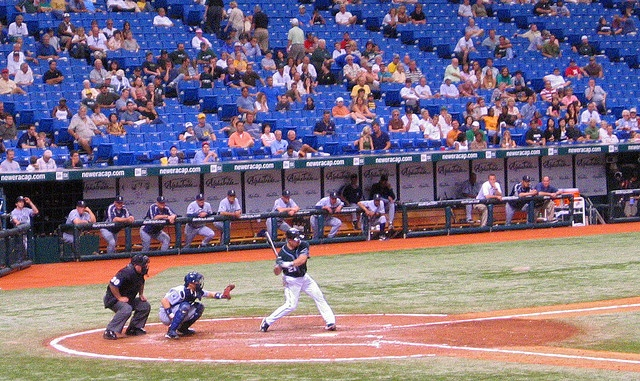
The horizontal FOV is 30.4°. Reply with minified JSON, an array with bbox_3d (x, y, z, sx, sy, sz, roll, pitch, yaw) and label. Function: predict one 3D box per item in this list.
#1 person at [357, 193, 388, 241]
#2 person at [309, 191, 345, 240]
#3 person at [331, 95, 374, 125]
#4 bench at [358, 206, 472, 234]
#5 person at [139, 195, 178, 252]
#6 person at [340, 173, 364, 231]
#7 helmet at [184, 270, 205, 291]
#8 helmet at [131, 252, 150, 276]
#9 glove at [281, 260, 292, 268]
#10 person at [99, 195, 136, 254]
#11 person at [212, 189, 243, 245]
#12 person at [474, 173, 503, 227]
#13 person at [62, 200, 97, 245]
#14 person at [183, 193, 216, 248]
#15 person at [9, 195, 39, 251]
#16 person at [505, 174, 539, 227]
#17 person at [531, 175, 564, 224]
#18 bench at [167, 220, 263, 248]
[{"bbox_3d":[1.935,0.935,43.038,0.932,1.572,0.796,2,-1,-29],"label":"person"},{"bbox_3d":[0.276,0.863,42.605,0.980,1.665,0.903,-1,-3,-32],"label":"person"},{"bbox_3d":[1.055,-3.144,45.763,1.842,1.301,0.989,4,-1,-39],"label":"person"},{"bbox_3d":[3.244,1.084,43.367,3.410,1.007,0.664,-1,0,3],"label":"bench"},{"bbox_3d":[-5.694,1.134,41.412,1.161,1.951,0.990,-2,-4,-27],"label":"person"},{"bbox_3d":[1.110,0.362,43.516,0.825,1.978,0.599,1,0,-2],"label":"person"},{"bbox_3d":[-3.637,2.572,34.054,0.570,0.443,0.455,-3,13,-9],"label":"helmet"},{"bbox_3d":[-5.113,2.082,34.165,0.618,0.537,0.494,0,14,-2],"label":"helmet"},{"bbox_3d":[-0.959,2.100,33.774,0.327,0.182,0.122,-2,-3,-1],"label":"glove"},{"bbox_3d":[-7.086,1.191,41.048,1.082,1.927,0.483,-2,-3,-8],"label":"person"},{"bbox_3d":[-3.308,0.955,42.094,1.032,1.895,0.903,-3,-3,-5],"label":"person"},{"bbox_3d":[6.172,0.342,43.796,0.770,1.944,0.831,7,0,-12],"label":"person"},{"bbox_3d":[-8.337,1.110,40.974,0.769,1.527,0.941,-7,-5,39],"label":"person"},{"bbox_3d":[-4.292,1.069,41.904,1.030,1.844,0.867,-2,-4,-16],"label":"person"},{"bbox_3d":[-10.199,1.082,40.563,0.741,1.849,0.867,0,-4,34],"label":"person"},{"bbox_3d":[7.462,0.359,43.957,1.225,1.782,1.033,2,9,8],"label":"person"},{"bbox_3d":[8.389,0.309,43.938,0.701,1.679,0.805,9,1,0],"label":"person"},{"bbox_3d":[-3.227,1.478,42.084,3.625,0.905,1.197,-1,4,-10],"label":"bench"}]
